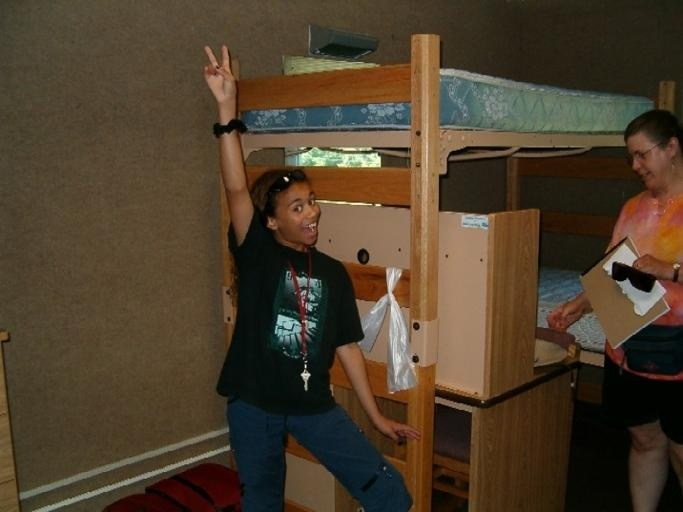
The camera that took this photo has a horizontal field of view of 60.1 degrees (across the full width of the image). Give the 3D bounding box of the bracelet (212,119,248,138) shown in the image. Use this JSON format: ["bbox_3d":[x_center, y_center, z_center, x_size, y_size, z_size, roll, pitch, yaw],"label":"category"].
[{"bbox_3d":[-0.466,-0.526,2.450,0.113,0.086,0.036,-13,-10,14],"label":"bracelet"}]
